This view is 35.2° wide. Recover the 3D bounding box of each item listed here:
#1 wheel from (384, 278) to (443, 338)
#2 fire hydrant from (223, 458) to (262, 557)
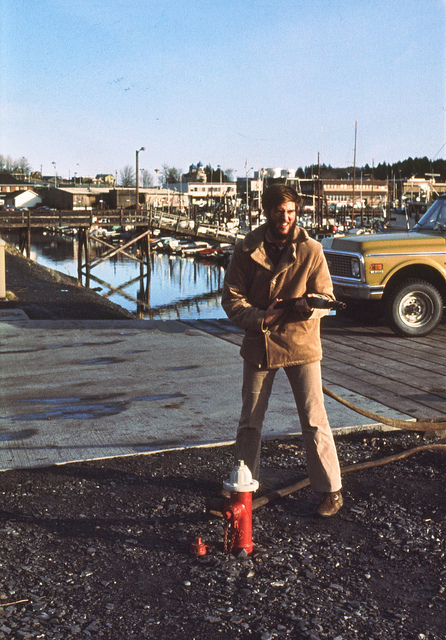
[{"bbox_3d":[2.434,-0.164,9.037,0.769,0.761,0.272,-3,2,-13],"label":"wheel"},{"bbox_3d":[0.078,0.863,3.277,0.154,0.446,0.241,1,10,3],"label":"fire hydrant"}]
